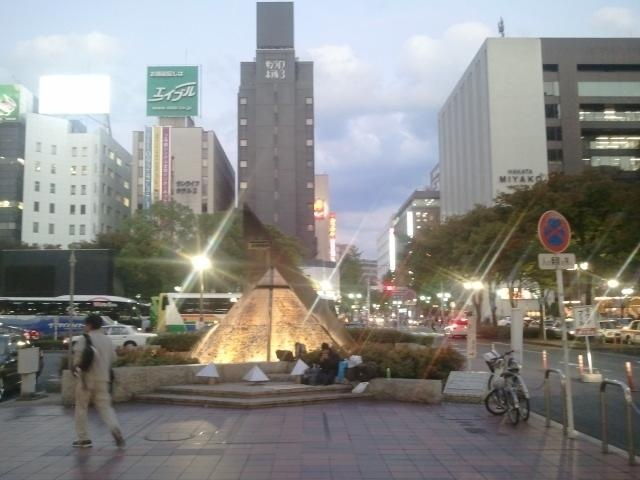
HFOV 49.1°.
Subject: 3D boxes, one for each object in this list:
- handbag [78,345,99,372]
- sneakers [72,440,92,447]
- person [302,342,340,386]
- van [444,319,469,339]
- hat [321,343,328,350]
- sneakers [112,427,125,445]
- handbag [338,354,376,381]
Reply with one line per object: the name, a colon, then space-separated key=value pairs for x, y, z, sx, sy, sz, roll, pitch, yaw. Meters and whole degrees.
handbag: x=-5.208 y=2.677 z=15.802 sx=0.200 sy=0.502 sz=0.396 roll=13 pitch=4 yaw=-38
sneakers: x=-5.332 y=4.571 z=15.764 sx=0.426 sy=0.165 sz=0.158 roll=5 pitch=-7 yaw=7
person: x=0.007 y=4.111 z=22.147 sx=1.135 sy=1.367 sz=1.340 roll=-7 pitch=-30 yaw=25
van: x=9.826 y=6.513 z=50.606 sx=1.419 sy=1.205 sz=3.186 roll=2 pitch=3 yaw=8
hat: x=0.124 y=3.284 z=21.695 sx=0.233 sy=0.194 sz=0.227 roll=5 pitch=-9 yaw=-38
sneakers: x=-4.520 y=4.416 z=15.724 sx=0.270 sy=0.425 sz=0.249 roll=1 pitch=4 yaw=-6
handbag: x=1.110 y=3.998 z=21.705 sx=1.070 sy=0.642 sz=0.749 roll=-6 pitch=20 yaw=36
